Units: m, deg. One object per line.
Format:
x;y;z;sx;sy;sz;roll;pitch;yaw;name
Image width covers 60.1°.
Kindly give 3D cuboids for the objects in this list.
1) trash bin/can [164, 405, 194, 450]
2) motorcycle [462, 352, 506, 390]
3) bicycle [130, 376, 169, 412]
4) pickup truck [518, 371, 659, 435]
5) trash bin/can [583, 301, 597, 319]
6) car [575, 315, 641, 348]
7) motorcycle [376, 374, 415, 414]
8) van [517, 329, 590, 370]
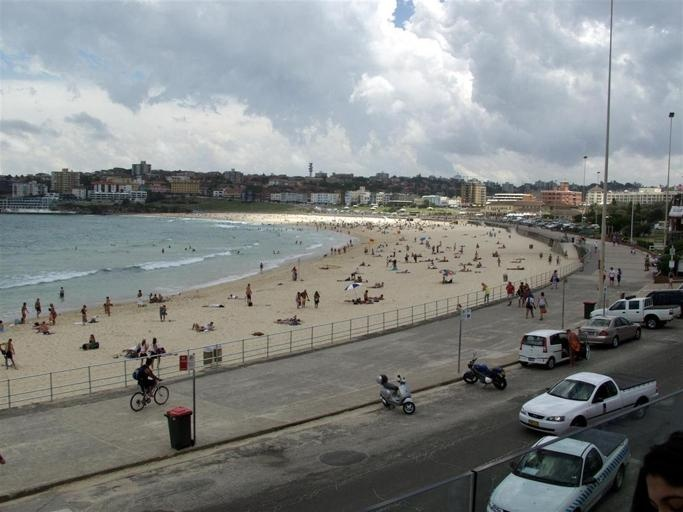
-4.447;4.756;16.191;0.642;0.744;0.548;-5;3;-17;trash bin/can
5.167;4.203;21.194;1.702;1.048;0.716;1;12;46;motorcycle
-6.536;4.571;19.544;0.665;0.802;1.372;-1;8;41;bicycle
7.278;4.425;17.148;4.491;1.357;1.863;-4;1;-32;pickup truck
13.727;3.009;32.469;0.789;0.938;0.768;-2;11;-15;trash bin/can
12.345;3.362;27.056;3.180;0.991;1.394;-10;10;-39;car
1.808;4.494;19.052;0.569;1.028;1.704;5;-5;-34;motorcycle
8.884;3.751;24.521;3.021;1.273;2.113;-4;3;-38;van
